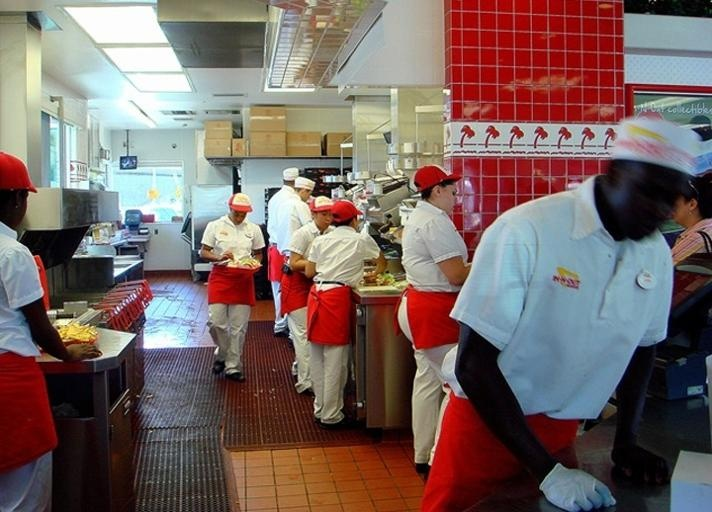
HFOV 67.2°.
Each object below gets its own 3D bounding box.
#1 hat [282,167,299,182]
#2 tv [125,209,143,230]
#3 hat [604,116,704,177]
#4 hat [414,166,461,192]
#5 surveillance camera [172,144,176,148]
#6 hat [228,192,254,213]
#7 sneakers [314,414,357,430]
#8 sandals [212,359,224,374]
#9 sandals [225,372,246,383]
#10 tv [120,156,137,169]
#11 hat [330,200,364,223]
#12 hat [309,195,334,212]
[{"bbox_3d":[-0.857,-1.093,7.096,0.247,0.190,0.171,0,4,-39],"label":"hat"},{"bbox_3d":[-5.107,-0.844,12.328,0.347,0.460,0.462,-1,6,-7],"label":"tv"},{"bbox_3d":[0.656,-0.221,1.180,0.136,0.080,0.137,14,3,1],"label":"hat"},{"bbox_3d":[0.520,-0.498,3.421,0.252,0.130,0.159,-18,12,3],"label":"hat"},{"bbox_3d":[-4.368,-2.667,12.889,0.084,0.078,0.075,-1,4,-9],"label":"surveillance camera"},{"bbox_3d":[-1.186,-0.545,5.452,0.163,0.119,0.244,5,8,-23],"label":"hat"},{"bbox_3d":[-0.175,1.343,4.334,0.364,0.153,0.120,7,0,-20],"label":"sneakers"},{"bbox_3d":[-1.414,1.139,5.566,0.103,0.140,0.132,1,8,3],"label":"sandals"},{"bbox_3d":[-1.191,1.194,5.306,0.218,0.087,0.081,-1,3,31],"label":"sandals"},{"bbox_3d":[-5.358,-2.213,12.619,0.490,0.344,0.267,1,10,-2],"label":"tv"},{"bbox_3d":[-0.065,-0.360,4.256,0.135,0.107,0.212,5,21,27],"label":"hat"},{"bbox_3d":[-0.298,-0.471,4.821,0.184,0.105,0.282,-1,0,-11],"label":"hat"}]
